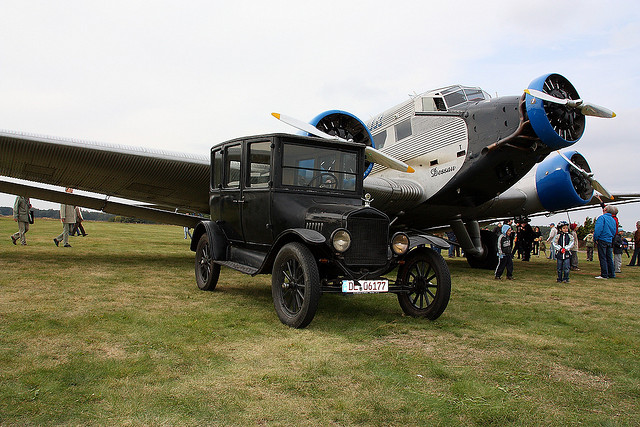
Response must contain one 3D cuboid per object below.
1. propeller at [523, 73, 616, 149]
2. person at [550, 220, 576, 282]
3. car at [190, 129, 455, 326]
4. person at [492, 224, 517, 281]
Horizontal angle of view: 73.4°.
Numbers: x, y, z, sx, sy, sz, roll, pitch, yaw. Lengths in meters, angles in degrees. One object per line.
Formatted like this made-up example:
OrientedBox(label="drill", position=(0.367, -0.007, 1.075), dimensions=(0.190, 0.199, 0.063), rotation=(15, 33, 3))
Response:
OrientedBox(label="propeller", position=(5.663, -2.475, 10.333), dimensions=(1.833, 1.811, 0.672), rotation=(1, 8, -14))
OrientedBox(label="person", position=(6.492, 0.992, 11.519), dimensions=(0.440, 1.587, 0.841), rotation=(7, 8, 29))
OrientedBox(label="car", position=(-0.387, 0.187, 8.117), dimensions=(2.807, 2.778, 5.143), rotation=(4, 0, -30))
OrientedBox(label="person", position=(4.942, 1.038, 11.567), dimensions=(0.579, 1.425, 0.490), rotation=(3, -4, -27))
